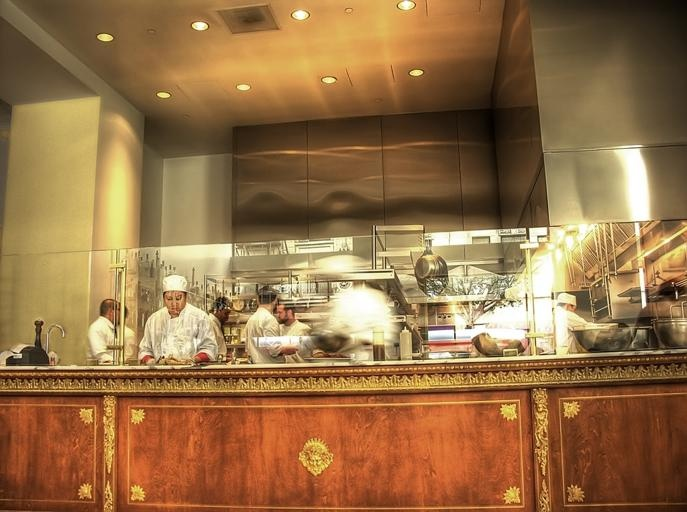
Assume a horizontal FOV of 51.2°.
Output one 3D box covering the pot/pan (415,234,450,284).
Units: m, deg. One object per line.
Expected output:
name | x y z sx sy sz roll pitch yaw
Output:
pot/pan | 0.560 0.050 4.717 0.169 0.286 0.280 1 -4 -3

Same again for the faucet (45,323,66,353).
faucet | -1.905 0.533 4.748 0.224 0.182 0.049 -9 -12 41

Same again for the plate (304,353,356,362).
plate | -0.073 0.625 4.423 0.297 0.070 0.512 -2 -10 0

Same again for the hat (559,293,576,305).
hat | 1.324 0.249 4.237 0.082 0.058 0.064 -1 0 -7

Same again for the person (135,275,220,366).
person | -1.164 0.535 4.958 0.508 0.810 0.427 -3 -16 -7

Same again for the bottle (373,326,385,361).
bottle | 0.217 0.538 4.390 0.078 0.195 0.153 -2 -9 2

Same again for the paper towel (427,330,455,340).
paper towel | 0.662 0.529 4.820 0.072 0.070 0.259 3 -11 -27
